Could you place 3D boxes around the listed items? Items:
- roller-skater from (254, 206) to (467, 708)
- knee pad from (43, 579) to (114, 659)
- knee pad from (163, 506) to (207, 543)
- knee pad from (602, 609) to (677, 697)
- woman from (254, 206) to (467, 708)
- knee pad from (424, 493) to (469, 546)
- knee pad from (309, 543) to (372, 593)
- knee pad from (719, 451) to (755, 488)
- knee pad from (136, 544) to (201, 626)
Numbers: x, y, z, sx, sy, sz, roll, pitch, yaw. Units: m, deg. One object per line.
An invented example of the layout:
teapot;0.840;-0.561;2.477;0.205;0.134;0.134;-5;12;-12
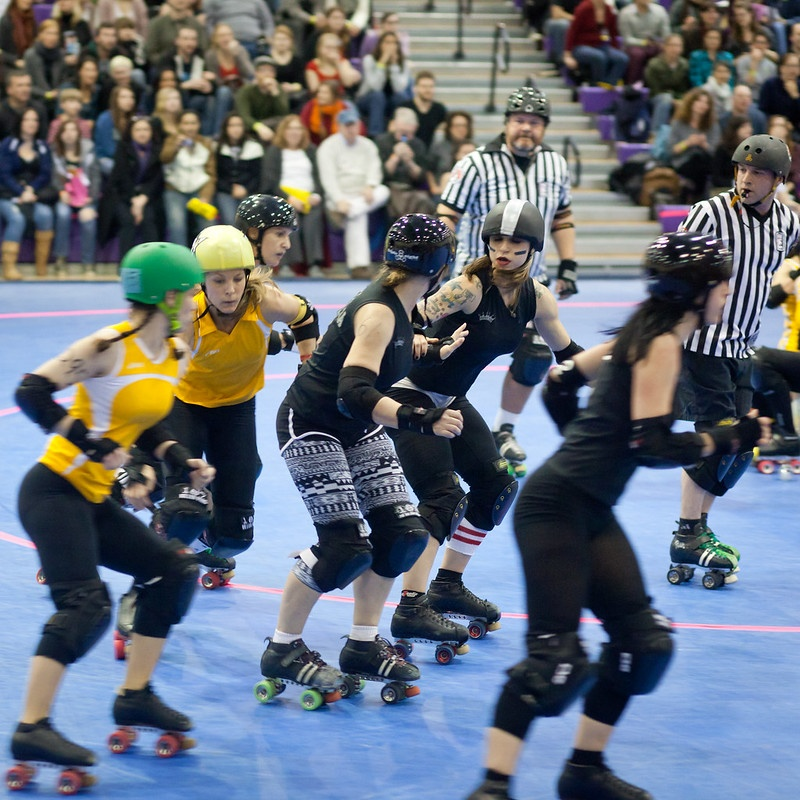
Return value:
roller-skater;-0.151;0.235;4.184;0.663;1.885;0.743;6;14;-7
knee pad;-1.041;0.714;3.508;0.217;0.268;0.230;4;13;-13
knee pad;-0.927;0.520;4.661;0.194;0.171;0.041;23;29;-41
knee pad;0.751;0.799;3.372;0.112;0.155;0.136;14;-3;27
woman;-0.151;0.235;4.184;0.663;1.885;0.743;6;14;-7
knee pad;0.186;0.498;4.671;0.128;0.162;0.224;37;56;21
knee pad;-0.224;0.624;4.110;0.249;0.071;0.163;10;16;15
knee pad;1.737;0.357;5.699;0.156;0.265;0.070;10;40;-55
knee pad;-0.796;0.647;3.783;0.156;0.256;0.218;18;2;-14
